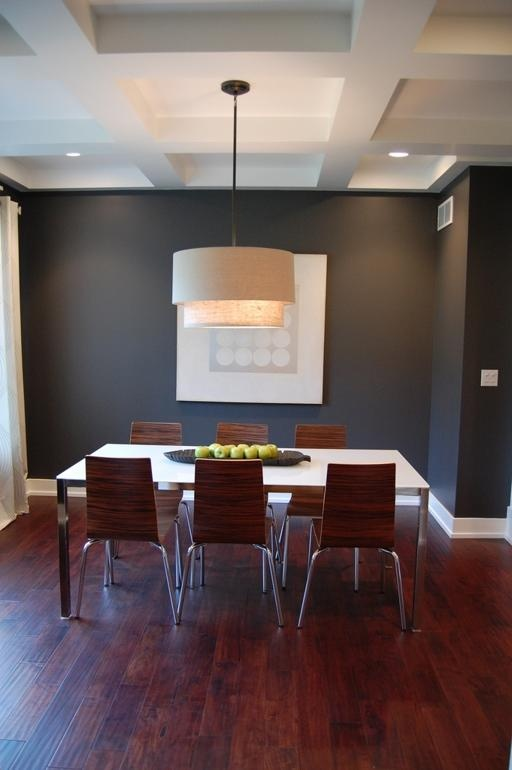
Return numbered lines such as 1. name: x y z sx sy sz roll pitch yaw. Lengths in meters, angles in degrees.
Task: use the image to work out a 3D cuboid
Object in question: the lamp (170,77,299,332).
1. lamp: -0.060 -0.905 2.579 0.572 1.275 0.804 1 2 19
